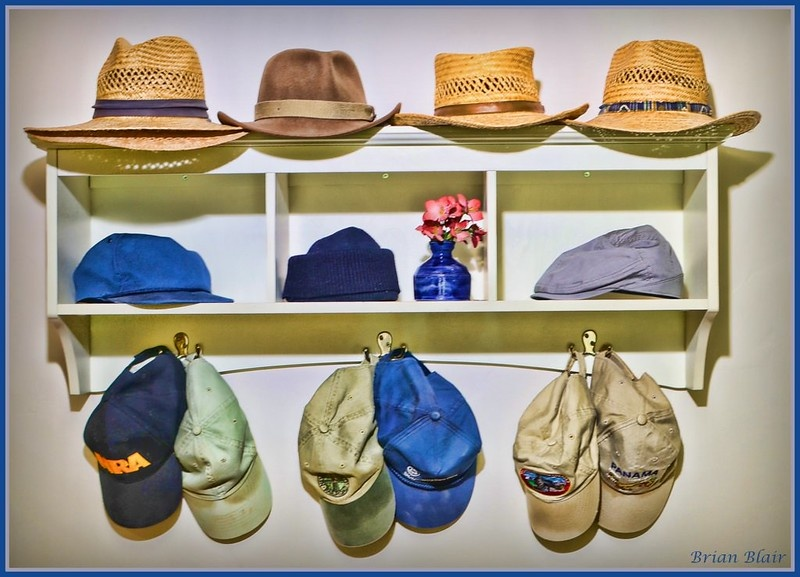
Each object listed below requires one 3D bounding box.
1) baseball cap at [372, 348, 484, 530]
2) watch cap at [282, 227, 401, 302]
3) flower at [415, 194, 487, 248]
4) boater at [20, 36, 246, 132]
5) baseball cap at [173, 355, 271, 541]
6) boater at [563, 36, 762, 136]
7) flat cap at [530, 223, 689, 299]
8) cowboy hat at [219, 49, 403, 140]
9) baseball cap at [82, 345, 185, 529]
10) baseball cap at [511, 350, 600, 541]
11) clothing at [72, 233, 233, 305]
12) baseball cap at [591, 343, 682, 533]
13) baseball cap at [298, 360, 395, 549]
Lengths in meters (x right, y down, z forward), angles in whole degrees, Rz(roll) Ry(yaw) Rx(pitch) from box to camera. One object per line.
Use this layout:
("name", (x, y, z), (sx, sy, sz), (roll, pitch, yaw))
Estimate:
("baseball cap", (0.048, 0.359, 2.408), (0.277, 0.414, 0.148), (-10, 2, -25))
("watch cap", (-0.140, -0.049, 2.348), (0.227, 0.148, 0.171), (1, -5, -3))
("flower", (0.132, -0.165, 2.444), (0.142, 0.143, 0.070), (-1, -14, 1))
("boater", (-0.641, -0.507, 2.446), (0.582, 0.238, 0.521), (-8, 14, -31))
("baseball cap", (-0.433, 0.405, 2.495), (0.247, 0.413, 0.151), (-18, 8, 11))
("boater", (0.633, -0.515, 2.497), (0.603, 0.229, 0.600), (-6, 11, -39))
("flat cap", (0.522, -0.049, 2.344), (0.292, 0.152, 0.190), (-3, 1, 8))
("cowboy hat", (-0.223, -0.498, 2.473), (0.484, 0.207, 0.536), (-2, 8, -22))
("baseball cap", (-0.645, 0.355, 2.376), (0.244, 0.410, 0.160), (-4, -4, 15))
("baseball cap", (0.389, 0.390, 2.397), (0.113, 0.409, 0.216), (0, -1, -36))
("clothing", (-0.634, -0.024, 2.372), (0.269, 0.109, 0.212), (1, -2, 11))
("baseball cap", (0.577, 0.373, 2.442), (0.260, 0.405, 0.147), (-3, 0, -12))
("baseball cap", (-0.097, 0.414, 2.459), (0.248, 0.414, 0.151), (-13, -5, 31))
